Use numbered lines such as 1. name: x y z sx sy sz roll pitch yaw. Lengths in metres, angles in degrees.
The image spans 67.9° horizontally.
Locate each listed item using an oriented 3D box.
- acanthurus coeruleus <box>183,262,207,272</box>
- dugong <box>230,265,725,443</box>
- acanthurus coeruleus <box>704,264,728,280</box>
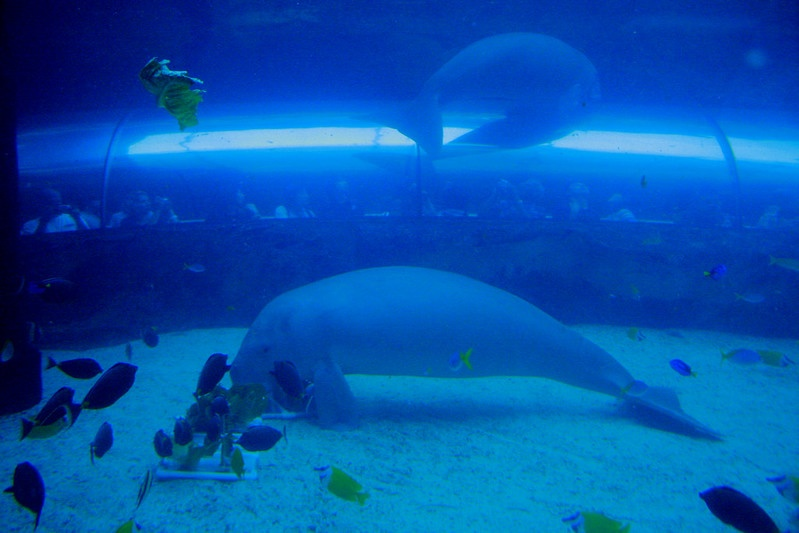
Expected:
1. acanthurus coeruleus: -1.982 0.009 5.740 0.196 0.087 0.033 1 8 7
2. dugong: 0.431 0.771 5.742 4.727 1.345 1.535 1 -6 1
3. acanthurus coeruleus: 3.015 0.049 5.630 0.143 0.053 0.185 -14 -18 -5
